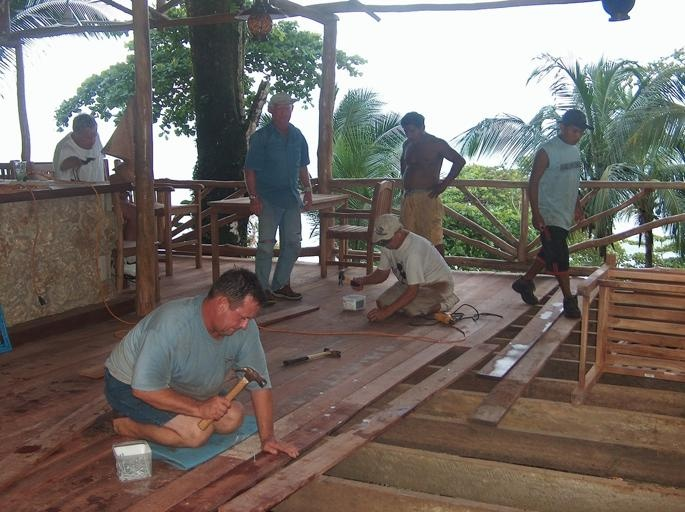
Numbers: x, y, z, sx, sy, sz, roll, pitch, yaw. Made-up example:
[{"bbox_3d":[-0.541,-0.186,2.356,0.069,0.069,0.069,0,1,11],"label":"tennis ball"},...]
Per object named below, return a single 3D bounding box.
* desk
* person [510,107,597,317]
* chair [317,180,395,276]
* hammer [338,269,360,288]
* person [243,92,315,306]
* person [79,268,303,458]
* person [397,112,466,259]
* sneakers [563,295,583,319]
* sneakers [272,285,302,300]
[{"bbox_3d":[-0.827,-0.444,5.854,0.964,0.876,1.797,6,12,28],"label":"desk"},{"bbox_3d":[1.868,-0.412,4.795,0.578,1.810,0.691,1,9,22],"label":"person"},{"bbox_3d":[0.210,-0.366,6.147,0.765,1.178,0.717,-2,12,-23],"label":"chair"},{"bbox_3d":[0.087,0.261,6.128,0.216,0.164,0.092,9,-9,14],"label":"hammer"},{"bbox_3d":[-0.578,-0.550,5.251,0.631,1.975,0.561,-5,17,-45],"label":"person"},{"bbox_3d":[-0.668,0.481,2.424,0.890,0.871,0.417,-3,9,-6],"label":"person"},{"bbox_3d":[0.861,-0.773,5.540,0.508,1.602,0.587,2,2,43],"label":"person"},{"bbox_3d":[1.989,0.433,4.618,0.142,0.180,0.198,1,9,22],"label":"sneakers"},{"bbox_3d":[-0.545,0.373,5.359,0.303,0.127,0.128,2,2,4],"label":"sneakers"}]
